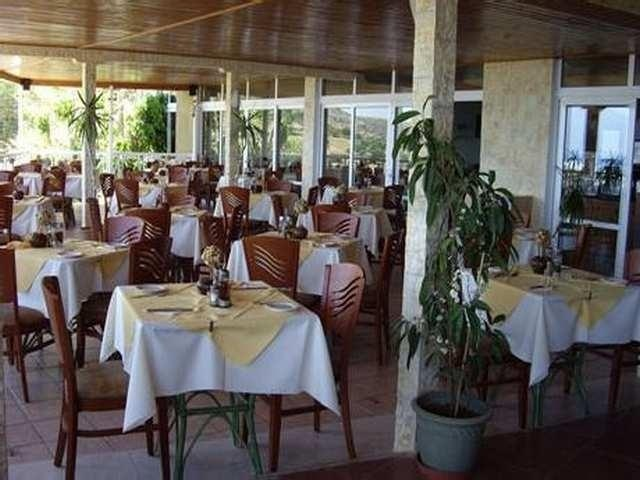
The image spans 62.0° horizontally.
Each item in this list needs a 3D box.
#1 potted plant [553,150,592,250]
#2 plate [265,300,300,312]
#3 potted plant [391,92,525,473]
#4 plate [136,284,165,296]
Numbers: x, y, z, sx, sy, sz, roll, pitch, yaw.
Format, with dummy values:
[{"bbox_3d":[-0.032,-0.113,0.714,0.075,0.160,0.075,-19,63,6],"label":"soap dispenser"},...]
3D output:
[{"bbox_3d":[3.827,-0.537,8.077,0.393,1.525,0.609,4,10,14],"label":"potted plant"},{"bbox_3d":[-0.226,0.395,3.171,0.225,0.026,0.191,6,12,18],"label":"plate"},{"bbox_3d":[0.823,0.234,3.338,0.755,2.172,1.019,5,10,21],"label":"potted plant"},{"bbox_3d":[-1.058,0.316,3.360,0.172,0.028,0.197,-3,12,-25],"label":"plate"}]
